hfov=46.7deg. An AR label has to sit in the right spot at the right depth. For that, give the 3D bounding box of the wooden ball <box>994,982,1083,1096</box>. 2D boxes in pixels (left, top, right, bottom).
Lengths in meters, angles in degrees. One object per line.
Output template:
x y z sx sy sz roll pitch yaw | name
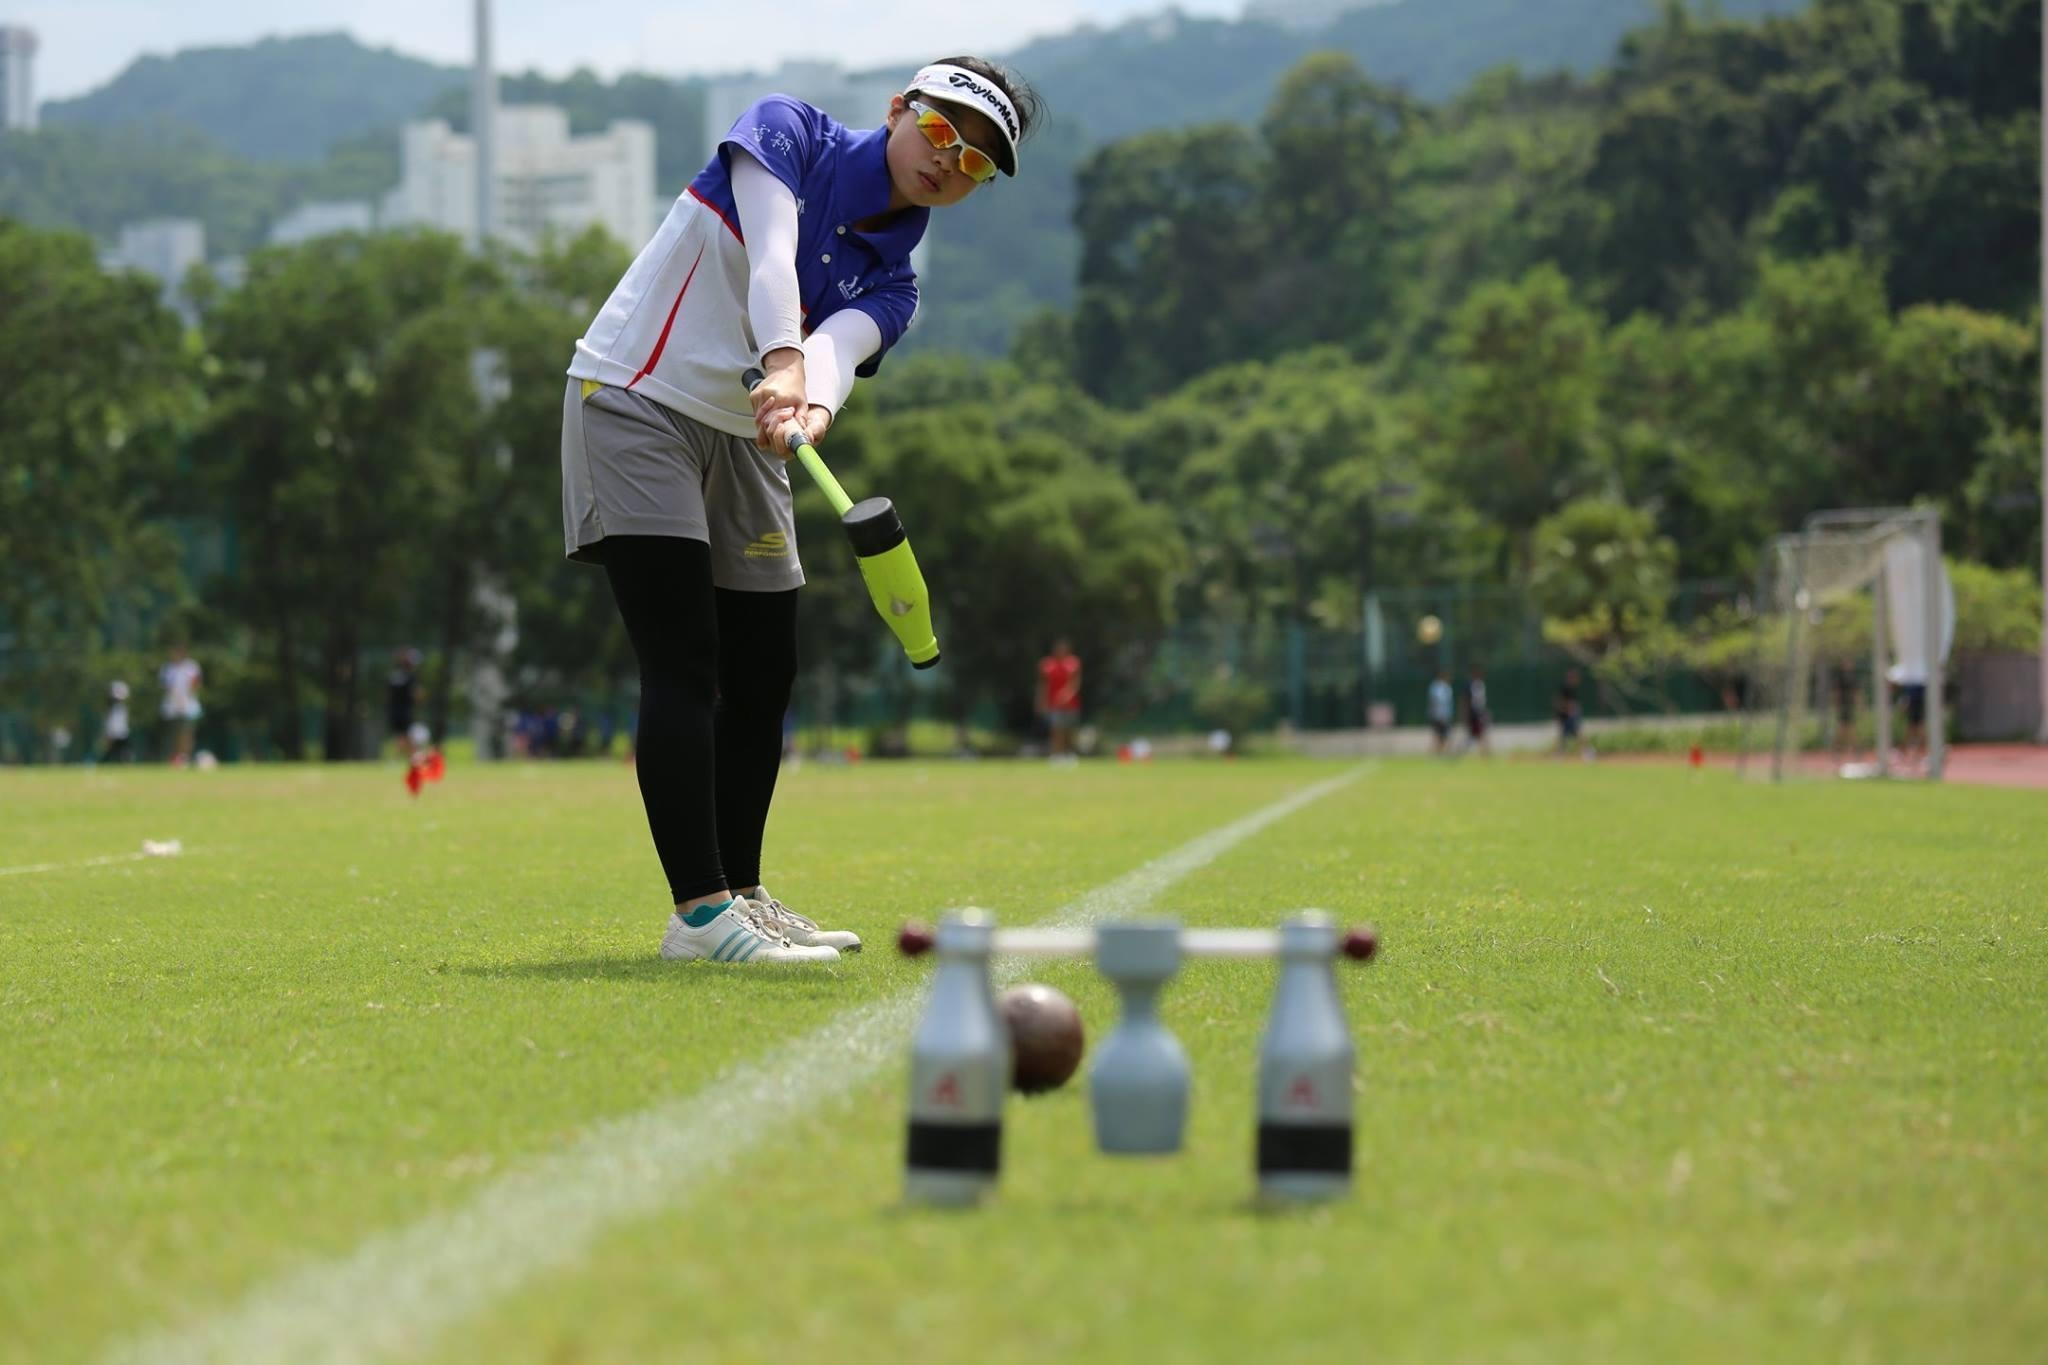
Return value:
0.077 0.828 5.342 0.222 0.290 0.235 -6 -10 -1 | wooden ball

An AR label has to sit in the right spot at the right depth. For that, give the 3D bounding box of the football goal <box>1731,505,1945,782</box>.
8.652 -0.222 24.979 1.131 2.020 3.330 0 -2 3 | football goal

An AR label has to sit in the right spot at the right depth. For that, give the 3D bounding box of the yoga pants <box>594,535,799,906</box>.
-0.952 0.113 7.129 0.290 1.088 0.644 -1 0 33 | yoga pants

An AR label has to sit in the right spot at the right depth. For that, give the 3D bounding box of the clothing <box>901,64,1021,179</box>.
-0.186 -1.668 6.952 0.286 0.242 0.383 18 -23 -23 | clothing

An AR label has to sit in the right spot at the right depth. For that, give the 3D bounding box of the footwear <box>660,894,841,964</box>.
-0.766 0.732 7.028 0.572 0.258 0.202 0 -5 2 | footwear

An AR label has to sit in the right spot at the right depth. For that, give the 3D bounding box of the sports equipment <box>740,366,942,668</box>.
-0.525 -0.472 7.076 0.504 0.868 1.199 -2 0 -3 | sports equipment

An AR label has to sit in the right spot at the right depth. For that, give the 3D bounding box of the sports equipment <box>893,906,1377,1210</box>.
0.237 0.758 4.777 0.958 0.593 0.232 -2 0 0 | sports equipment
